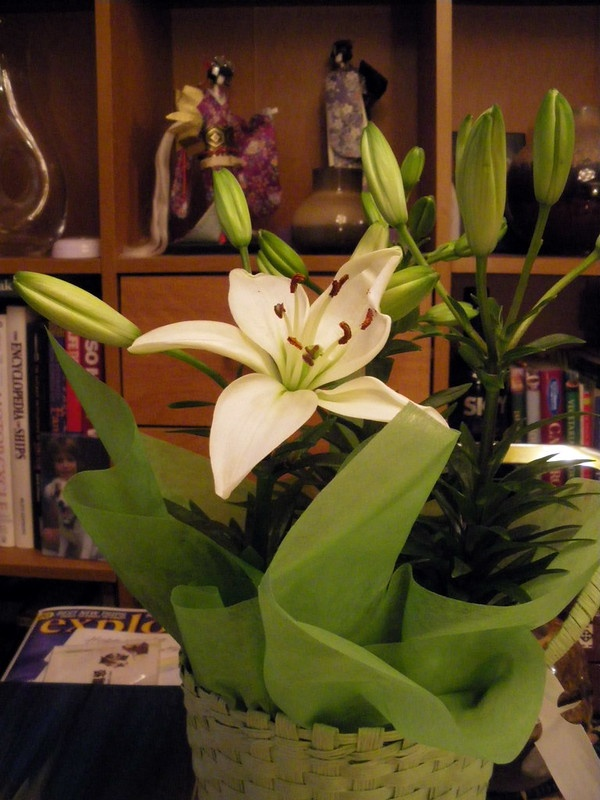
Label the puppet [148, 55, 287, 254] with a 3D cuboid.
[{"bbox_3d":[-0.123,-0.370,1.062,0.201,0.264,0.104,0,17,3],"label":"puppet"}]

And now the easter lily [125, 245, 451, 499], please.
[{"bbox_3d":[-0.009,0.001,0.309,0.120,0.125,0.149,-7,12,-6],"label":"easter lily"}]

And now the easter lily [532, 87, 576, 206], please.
[{"bbox_3d":[0.111,-0.112,0.312,0.018,0.046,0.014,1,18,12],"label":"easter lily"}]

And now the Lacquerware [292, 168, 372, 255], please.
[{"bbox_3d":[0.045,-0.277,1.040,0.120,0.107,0.116,11,16,16],"label":"Lacquerware"}]

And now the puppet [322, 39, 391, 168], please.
[{"bbox_3d":[0.091,-0.458,1.095,0.107,0.191,0.080,7,15,36],"label":"puppet"}]
